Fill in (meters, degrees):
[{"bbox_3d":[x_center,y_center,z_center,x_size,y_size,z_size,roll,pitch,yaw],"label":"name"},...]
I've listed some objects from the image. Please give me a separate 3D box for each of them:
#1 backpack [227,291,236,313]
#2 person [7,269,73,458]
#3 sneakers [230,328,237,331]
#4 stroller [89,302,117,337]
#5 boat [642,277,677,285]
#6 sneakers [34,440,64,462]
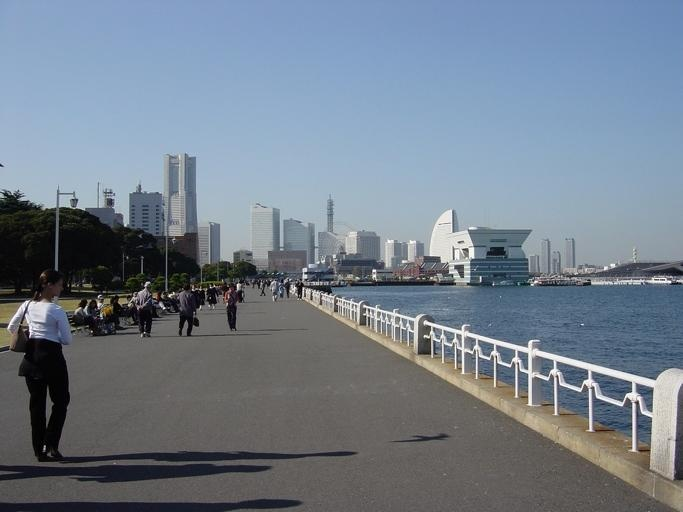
[{"bbox_3d":[-4.169,1.668,26.323,0.322,0.619,0.698,3,-2,-12],"label":"backpack"},{"bbox_3d":[-3.743,1.346,8.678,0.746,2.265,0.555,2,-2,27],"label":"person"},{"bbox_3d":[-4.223,2.876,27.115,0.147,0.071,0.197,-1,0,-43],"label":"sneakers"},{"bbox_3d":[-8.969,2.424,26.450,0.839,1.324,1.318,5,-13,-39],"label":"stroller"},{"bbox_3d":[129.875,10.161,282.072,6.401,2.965,20.574,3,-2,4],"label":"boat"},{"bbox_3d":[-3.566,2.418,8.631,0.445,0.188,0.148,2,-2,-30],"label":"sneakers"}]
